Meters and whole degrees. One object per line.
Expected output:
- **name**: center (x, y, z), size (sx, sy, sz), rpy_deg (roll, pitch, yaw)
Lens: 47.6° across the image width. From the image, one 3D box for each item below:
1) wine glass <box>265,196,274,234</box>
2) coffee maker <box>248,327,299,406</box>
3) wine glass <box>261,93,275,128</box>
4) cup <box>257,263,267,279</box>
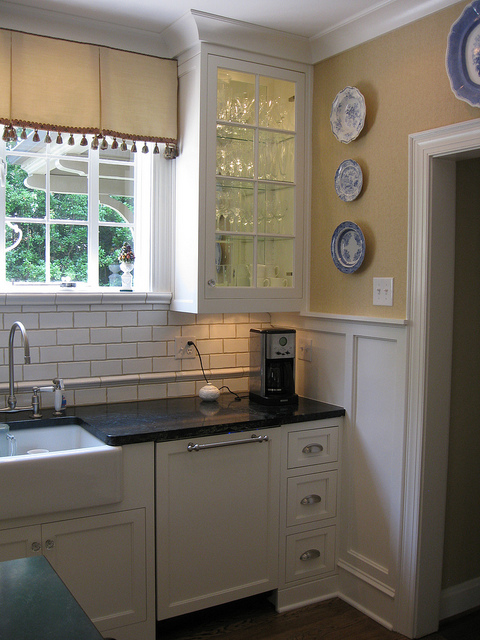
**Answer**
- **wine glass**: center (0.141, -0.510, 2.641), size (0.026, 0.175, 0.061), rpy_deg (6, 9, 41)
- **coffee maker**: center (0.147, 0.224, 2.647), size (0.257, 0.363, 0.191), rpy_deg (1, 7, 16)
- **wine glass**: center (0.136, -1.006, 2.608), size (0.035, 0.178, 0.047), rpy_deg (-3, 7, -4)
- **cup**: center (0.105, -0.248, 2.627), size (0.040, 0.048, 0.064), rpy_deg (-2, -1, 30)
